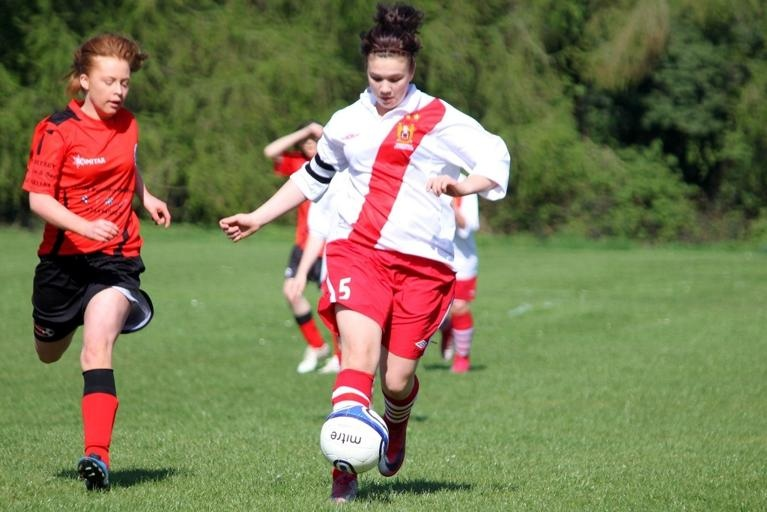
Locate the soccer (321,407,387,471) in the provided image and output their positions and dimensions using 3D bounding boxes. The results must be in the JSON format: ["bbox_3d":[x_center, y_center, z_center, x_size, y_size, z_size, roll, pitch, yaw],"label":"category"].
[{"bbox_3d":[-0.183,1.176,6.138,0.339,0.335,0.351,19,59,32],"label":"soccer"}]

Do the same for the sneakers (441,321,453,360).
[{"bbox_3d":[0.704,0.948,10.675,0.131,0.418,0.185,0,-6,15],"label":"sneakers"}]

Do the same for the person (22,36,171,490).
[{"bbox_3d":[-2.086,0.003,6.798,0.871,3.142,0.949,1,6,6],"label":"person"}]

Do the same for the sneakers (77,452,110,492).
[{"bbox_3d":[-1.964,1.470,6.511,0.152,0.298,0.144,-4,30,3],"label":"sneakers"}]
